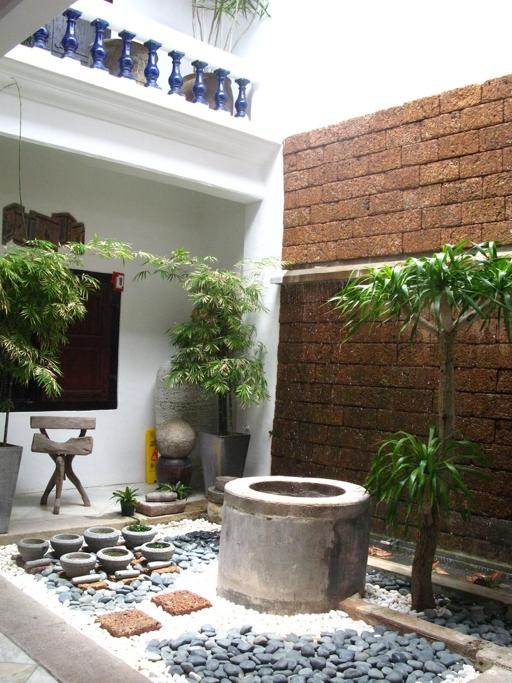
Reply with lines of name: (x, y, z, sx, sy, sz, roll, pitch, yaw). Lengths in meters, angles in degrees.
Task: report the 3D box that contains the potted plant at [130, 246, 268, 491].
potted plant: (-0.472, 0.168, 4.916, 1.072, 2.283, 1.223, 7, -12, -17)
